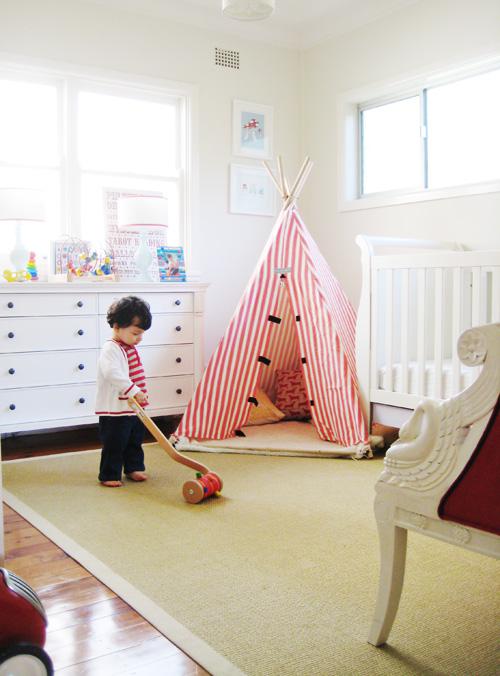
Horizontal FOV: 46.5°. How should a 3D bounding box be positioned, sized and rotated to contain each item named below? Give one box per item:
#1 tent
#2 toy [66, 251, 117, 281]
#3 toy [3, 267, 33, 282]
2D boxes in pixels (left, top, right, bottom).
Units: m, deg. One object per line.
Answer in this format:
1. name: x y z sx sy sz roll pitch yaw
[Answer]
1. tent: 0.281 -0.254 3.655 1.518 1.893 1.362 3 10 13
2. toy: -0.883 -0.386 3.211 0.208 0.090 0.202 -9 17 -33
3. toy: -1.213 -0.328 3.005 0.114 0.044 0.084 -5 19 -15
